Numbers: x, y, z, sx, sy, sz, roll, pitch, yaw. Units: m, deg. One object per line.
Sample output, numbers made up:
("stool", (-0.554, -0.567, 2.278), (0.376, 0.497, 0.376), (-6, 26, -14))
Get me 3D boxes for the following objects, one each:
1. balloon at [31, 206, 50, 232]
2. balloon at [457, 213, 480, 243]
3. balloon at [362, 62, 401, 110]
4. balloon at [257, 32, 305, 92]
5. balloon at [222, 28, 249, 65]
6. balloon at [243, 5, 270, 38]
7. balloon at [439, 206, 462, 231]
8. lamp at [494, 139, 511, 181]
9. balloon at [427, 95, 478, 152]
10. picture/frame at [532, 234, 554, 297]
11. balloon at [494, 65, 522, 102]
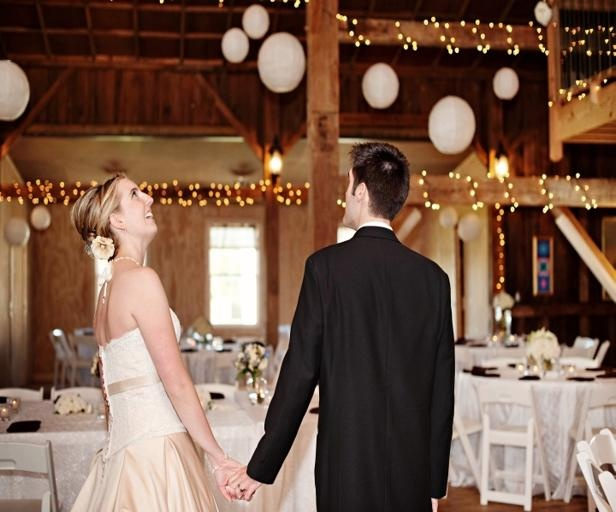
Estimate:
("balloon", (-4.051, -0.607, 12.210), (0.301, 0.429, 0.655), (2, -9, -20))
("balloon", (2.372, -0.418, 11.894), (0.292, 0.509, 0.351), (2, 4, 8))
("balloon", (0.765, -1.874, 8.575), (0.376, 0.658, 0.455), (0, 0, 6))
("balloon", (-0.228, -1.758, 7.538), (0.379, 0.640, 0.457), (0, 0, 5))
("balloon", (-0.776, -2.297, 8.617), (0.251, 0.387, 0.246), (-1, -7, 1))
("balloon", (-0.539, -2.485, 8.387), (0.241, 0.359, 0.292), (-3, -8, 21))
("balloon", (2.211, -0.590, 12.502), (0.278, 0.470, 0.334), (-1, 1, 8))
("lamp", (2.795, -1.404, 11.502), (0.141, 0.522, 0.412), (-5, -8, 42))
("balloon", (1.422, -1.291, 8.027), (0.400, 0.698, 0.483), (0, 2, 5))
("picture/frame", (3.393, 0.145, 11.604), (0.288, 0.968, 0.048), (3, 33, 22))
("balloon", (2.412, -2.131, 9.819), (0.270, 0.387, 0.249), (-1, -7, 3))
